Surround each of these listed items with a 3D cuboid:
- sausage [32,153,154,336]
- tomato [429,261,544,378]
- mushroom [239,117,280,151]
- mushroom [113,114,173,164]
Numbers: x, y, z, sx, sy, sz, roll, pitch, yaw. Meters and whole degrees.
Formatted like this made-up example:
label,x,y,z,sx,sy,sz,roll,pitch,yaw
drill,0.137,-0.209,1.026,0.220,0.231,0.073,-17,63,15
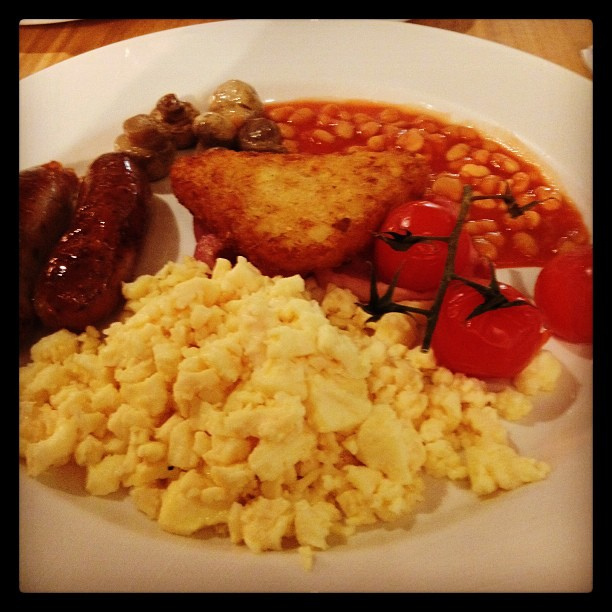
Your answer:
label,x,y,z,sx,sy,sz,roll,pitch,yaw
sausage,-0.428,-0.131,1.417,0.212,0.139,0.376,22,77,-1
tomato,0.371,0.056,1.280,0.211,0.167,0.136,13,49,9
mushroom,-0.108,-0.392,1.484,0.099,0.045,0.075,-4,61,-2
mushroom,-0.363,-0.368,1.406,0.140,0.071,0.104,7,67,-2
